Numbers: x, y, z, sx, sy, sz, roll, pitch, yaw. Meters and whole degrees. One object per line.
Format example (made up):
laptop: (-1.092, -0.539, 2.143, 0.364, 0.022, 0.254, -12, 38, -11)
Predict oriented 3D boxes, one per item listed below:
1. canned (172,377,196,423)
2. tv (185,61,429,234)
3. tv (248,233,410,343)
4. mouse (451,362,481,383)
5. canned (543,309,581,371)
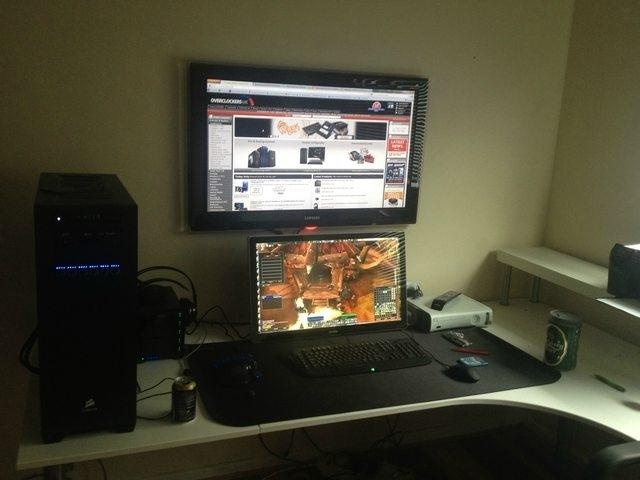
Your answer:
canned: (-0.487, 0.553, 1.948, 0.094, 0.141, 0.149, -3, 13, -14)
tv: (-0.044, -0.417, 2.493, 1.135, 0.719, 0.037, -3, 13, -15)
tv: (-0.001, 0.099, 2.569, 0.760, 0.485, 0.509, -1, 11, -21)
mouse: (0.591, 0.528, 2.170, 0.060, 0.029, 0.086, -13, 20, -26)
canned: (1.000, 0.414, 2.302, 0.123, 0.263, 0.118, -9, 21, -28)
